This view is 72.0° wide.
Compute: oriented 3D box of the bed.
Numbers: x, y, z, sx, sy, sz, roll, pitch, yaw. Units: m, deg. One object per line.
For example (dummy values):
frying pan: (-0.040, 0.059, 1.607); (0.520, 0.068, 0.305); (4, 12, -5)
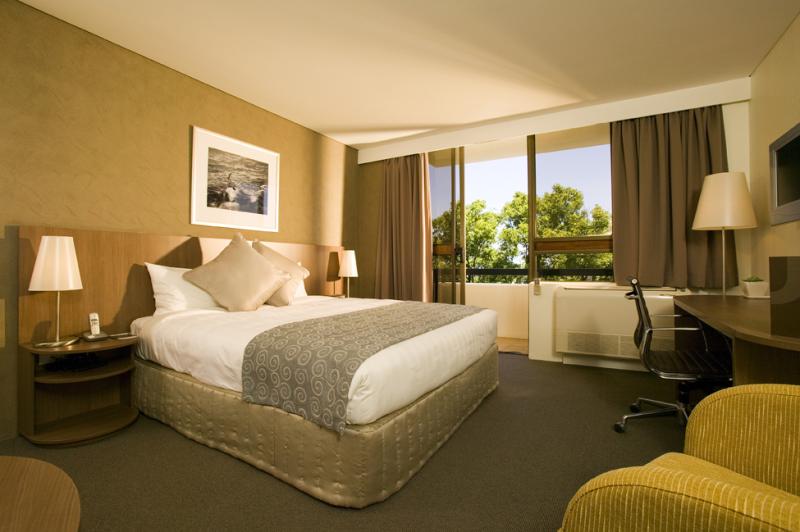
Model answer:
bed: (-0.497, 1.138, 4.567); (1.830, 0.590, 1.838); (1, -3, -43)

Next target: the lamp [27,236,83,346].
lamp: (-2.988, 0.202, 4.765); (0.366, 0.935, 0.368); (-1, 1, -36)

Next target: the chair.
chair: (2.465, 0.808, 4.890); (0.940, 1.275, 1.020); (1, 3, 6)

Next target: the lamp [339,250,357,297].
lamp: (-0.711, 0.085, 7.476); (0.245, 0.657, 0.800); (0, 1, -7)

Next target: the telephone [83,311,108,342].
telephone: (-2.748, 0.535, 4.917); (0.247, 0.325, 0.227); (-2, -2, 36)

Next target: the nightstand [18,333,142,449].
nightstand: (-2.761, 1.082, 4.870); (0.647, 0.874, 0.873); (6, 7, 31)

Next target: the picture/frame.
picture/frame: (-1.885, -0.974, 6.141); (0.049, 1.113, 1.264); (1, -1, 33)

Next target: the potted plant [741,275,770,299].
potted plant: (3.490, 0.205, 5.448); (0.299, 0.271, 0.272); (0, -2, 6)
